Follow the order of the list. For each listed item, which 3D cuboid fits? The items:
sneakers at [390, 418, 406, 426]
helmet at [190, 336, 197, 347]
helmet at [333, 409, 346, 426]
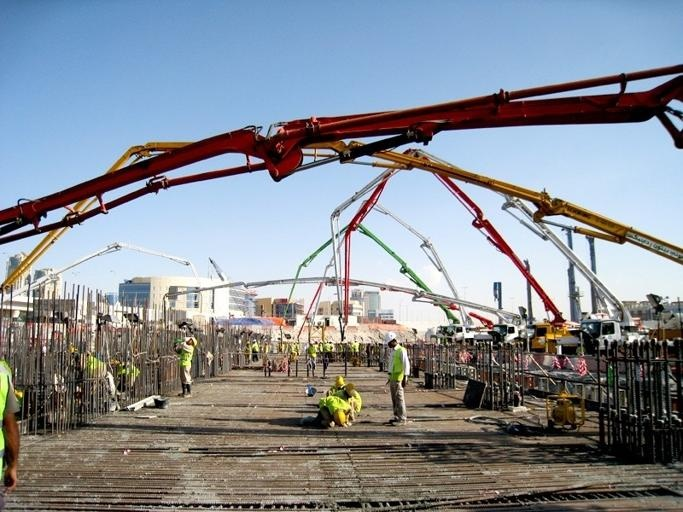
[{"bbox_3d":[1.310,3.978,13.301,0.446,0.264,0.140,1,-11,1],"label":"sneakers"},{"bbox_3d":[-4.747,2.716,17.599,0.124,0.297,0.324,-7,-13,32],"label":"helmet"},{"bbox_3d":[-0.065,3.753,12.998,0.390,0.367,0.374,-1,0,-10],"label":"helmet"}]
